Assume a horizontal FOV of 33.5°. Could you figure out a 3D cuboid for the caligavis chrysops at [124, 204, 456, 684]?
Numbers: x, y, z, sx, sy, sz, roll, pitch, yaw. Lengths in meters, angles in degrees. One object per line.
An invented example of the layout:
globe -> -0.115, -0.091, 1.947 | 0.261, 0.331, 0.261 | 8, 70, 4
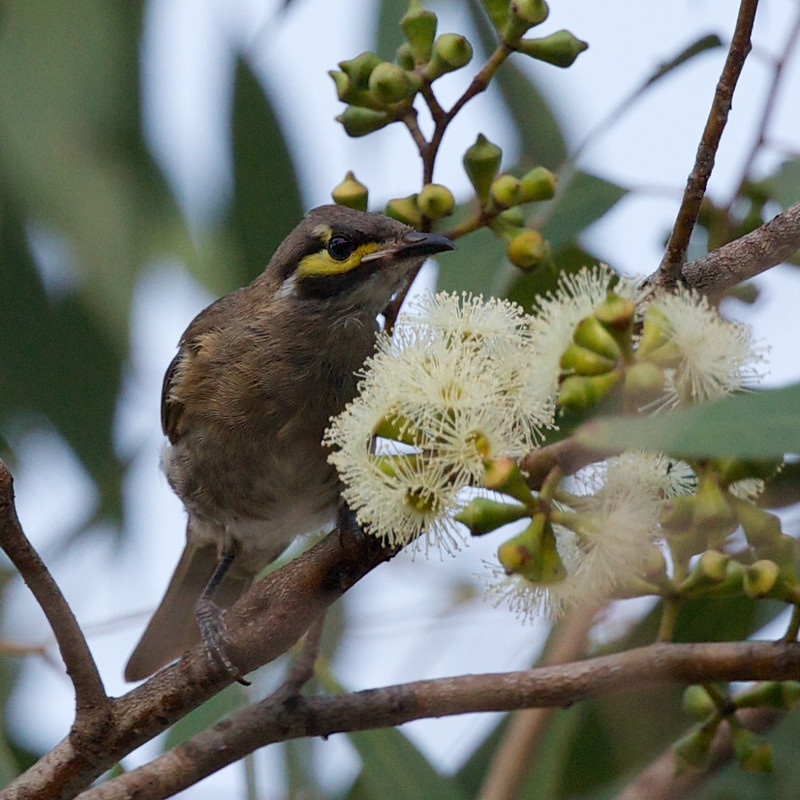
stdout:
caligavis chrysops -> -0.259, 0.017, 3.187 | 1.150, 0.480, 0.922 | -39, 47, 33
